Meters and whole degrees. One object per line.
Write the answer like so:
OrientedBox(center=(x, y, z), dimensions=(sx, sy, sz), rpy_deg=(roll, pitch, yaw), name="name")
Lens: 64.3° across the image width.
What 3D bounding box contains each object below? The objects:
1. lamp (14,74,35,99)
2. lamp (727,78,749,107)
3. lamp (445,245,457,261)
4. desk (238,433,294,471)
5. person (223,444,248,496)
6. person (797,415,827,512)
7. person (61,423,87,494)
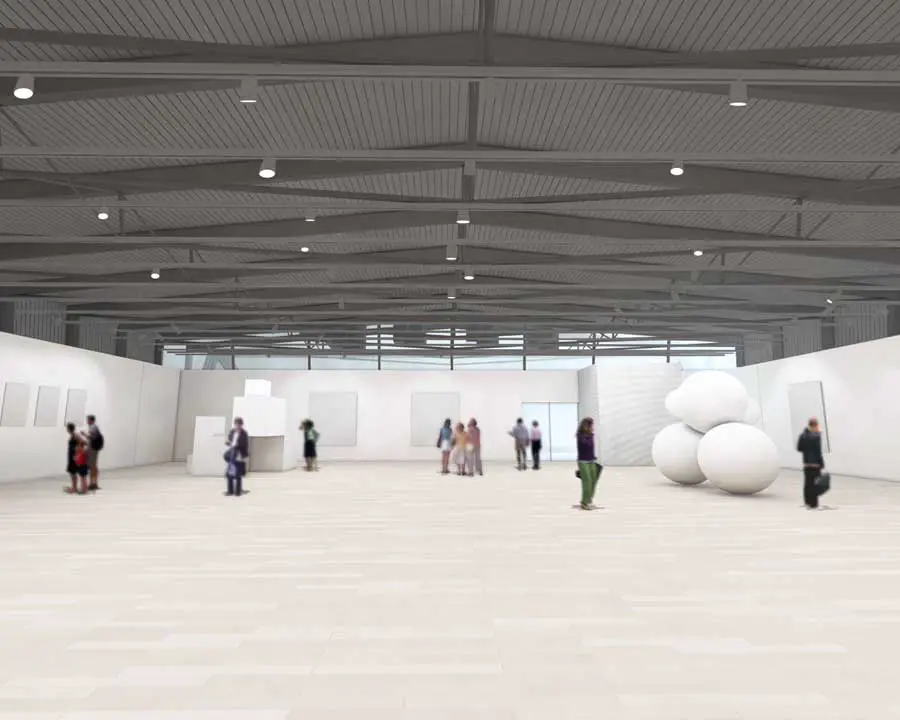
OrientedBox(center=(-4.655, -3.020, 7.873), dimensions=(0.164, 0.236, 0.171), rpy_deg=(1, -2, -35), name="lamp")
OrientedBox(center=(3.282, -3.031, 8.135), dimensions=(0.317, 0.280, 0.135), rpy_deg=(1, -3, -40), name="lamp")
OrientedBox(center=(0.029, -2.033, 13.598), dimensions=(0.314, 0.283, 0.329), rpy_deg=(-2, 2, 6), name="lamp")
OrientedBox(center=(-5.306, 2.722, 20.885), dimensions=(1.052, 1.127, 1.779), rpy_deg=(-2, -6, 8), name="desk")
OrientedBox(center=(-4.287, 2.195, 14.322), dimensions=(0.397, 0.943, 0.897), rpy_deg=(0, -2, -16), name="person")
OrientedBox(center=(6.105, 1.741, 12.152), dimensions=(0.395, 1.522, 1.544), rpy_deg=(-1, -2, 27), name="person")
OrientedBox(center=(-7.328, 1.931, 14.164), dimensions=(0.347, 1.360, 0.800), rpy_deg=(1, -2, -27), name="person")
